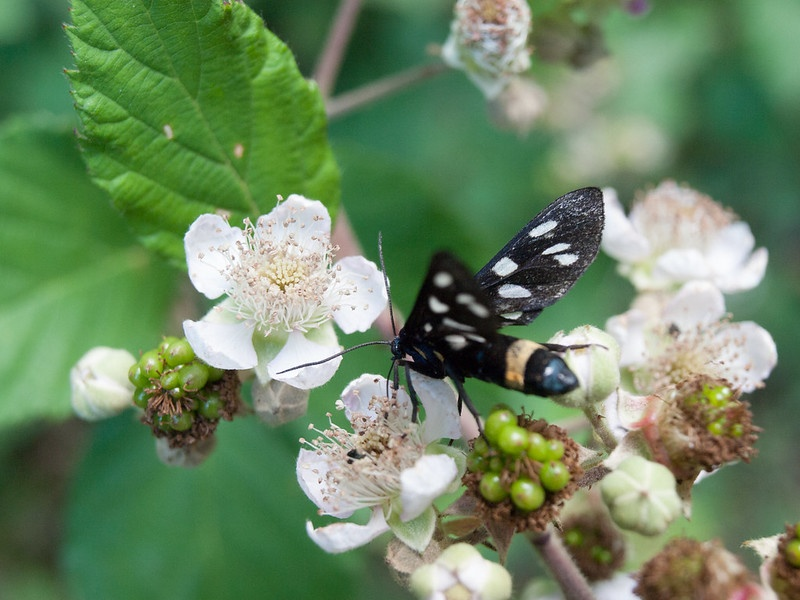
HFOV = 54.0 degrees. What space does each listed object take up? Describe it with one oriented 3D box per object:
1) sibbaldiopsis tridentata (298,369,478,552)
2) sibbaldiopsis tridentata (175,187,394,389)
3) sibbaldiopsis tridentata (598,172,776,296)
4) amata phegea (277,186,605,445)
[{"bbox_3d":[0.032,0.567,2.540,0.481,0.273,0.582,30,89,40],"label":"sibbaldiopsis tridentata"},{"bbox_3d":[-0.381,-0.032,2.567,0.581,0.262,0.674,23,69,-14],"label":"sibbaldiopsis tridentata"},{"bbox_3d":[1.075,-0.236,3.035,0.512,0.385,0.494,-3,105,-3],"label":"sibbaldiopsis tridentata"},{"bbox_3d":[0.162,0.032,2.500,0.799,0.810,0.634,3,73,-10],"label":"amata phegea"}]
